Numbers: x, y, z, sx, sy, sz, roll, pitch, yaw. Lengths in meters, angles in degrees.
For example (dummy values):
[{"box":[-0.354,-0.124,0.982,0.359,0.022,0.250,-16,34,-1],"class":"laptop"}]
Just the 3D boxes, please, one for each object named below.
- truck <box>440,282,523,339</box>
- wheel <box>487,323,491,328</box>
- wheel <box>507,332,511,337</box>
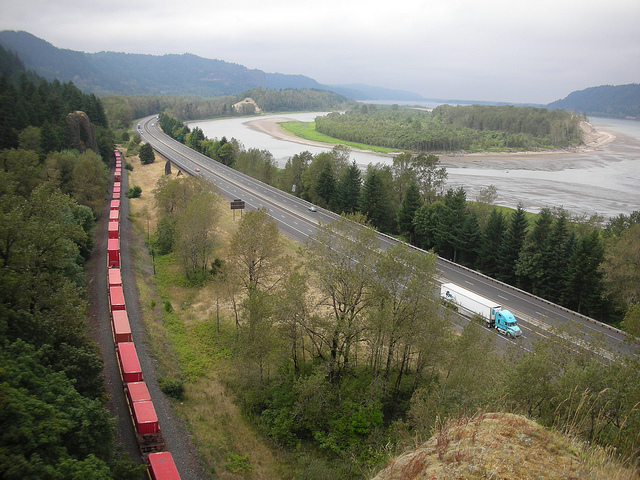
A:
[{"box":[21.728,9.771,78.573,2.287,2.579,9.485,-25,39,-28],"class":"truck"},{"box":[23.336,11.918,80.382,0.136,0.496,0.449,9,-10,-39],"class":"wheel"},{"box":[25.384,12.845,78.336,0.108,0.499,0.453,1,-11,-33],"class":"wheel"}]
